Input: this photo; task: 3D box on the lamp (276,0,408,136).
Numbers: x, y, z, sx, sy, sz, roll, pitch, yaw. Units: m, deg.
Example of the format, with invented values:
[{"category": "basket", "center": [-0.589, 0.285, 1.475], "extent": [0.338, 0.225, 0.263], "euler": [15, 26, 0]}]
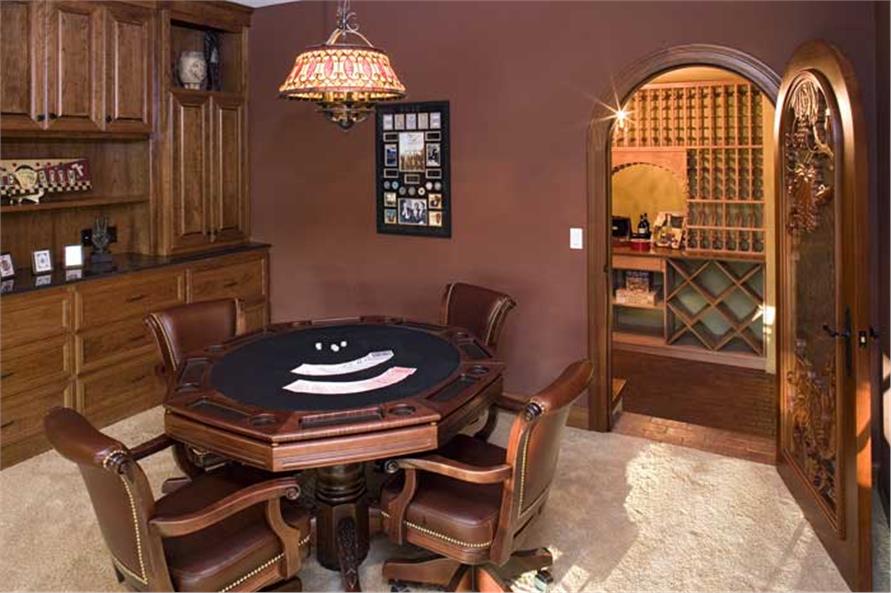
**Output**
[{"category": "lamp", "center": [-0.625, -1.273, 3.485], "extent": [0.624, 0.647, 0.877], "euler": [-2, 13, -18]}]

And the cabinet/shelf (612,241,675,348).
[{"category": "cabinet/shelf", "center": [2.148, -0.042, 6.850], "extent": [0.621, 0.982, 0.829], "euler": [5, 13, 16]}]

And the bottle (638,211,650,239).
[{"category": "bottle", "center": [2.334, -0.840, 7.253], "extent": [0.141, 0.277, 0.212], "euler": [6, 13, 16]}]
